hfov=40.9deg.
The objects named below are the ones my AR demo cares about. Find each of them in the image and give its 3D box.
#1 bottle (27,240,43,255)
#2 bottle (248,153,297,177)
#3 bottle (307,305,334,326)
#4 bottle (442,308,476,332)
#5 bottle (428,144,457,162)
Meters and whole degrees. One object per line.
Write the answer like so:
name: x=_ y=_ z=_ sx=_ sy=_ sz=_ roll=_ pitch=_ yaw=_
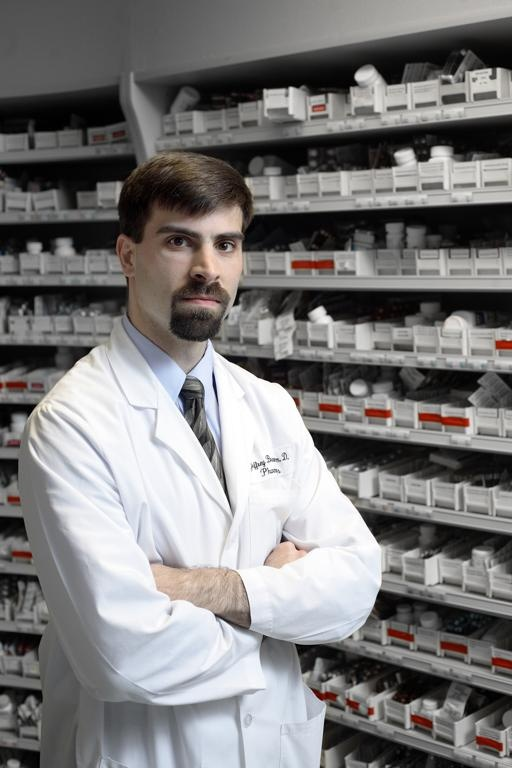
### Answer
bottle: x=-1.136 y=-0.678 z=3.427 sx=0.102 sy=0.079 sz=0.101 roll=2 pitch=14 yaw=-1
bottle: x=0.053 y=-0.896 z=2.892 sx=0.124 sy=0.049 sz=0.165 roll=6 pitch=13 yaw=26
bottle: x=0.250 y=-0.263 z=2.697 sx=0.086 sy=0.079 sz=0.086 roll=-13 pitch=-11 yaw=-13
bottle: x=0.723 y=-0.222 z=2.412 sx=0.121 sy=0.068 sz=0.209 roll=-1 pitch=7 yaw=15
bottle: x=0.630 y=-0.770 z=2.302 sx=0.093 sy=0.055 sz=0.093 roll=-1 pitch=10 yaw=0
